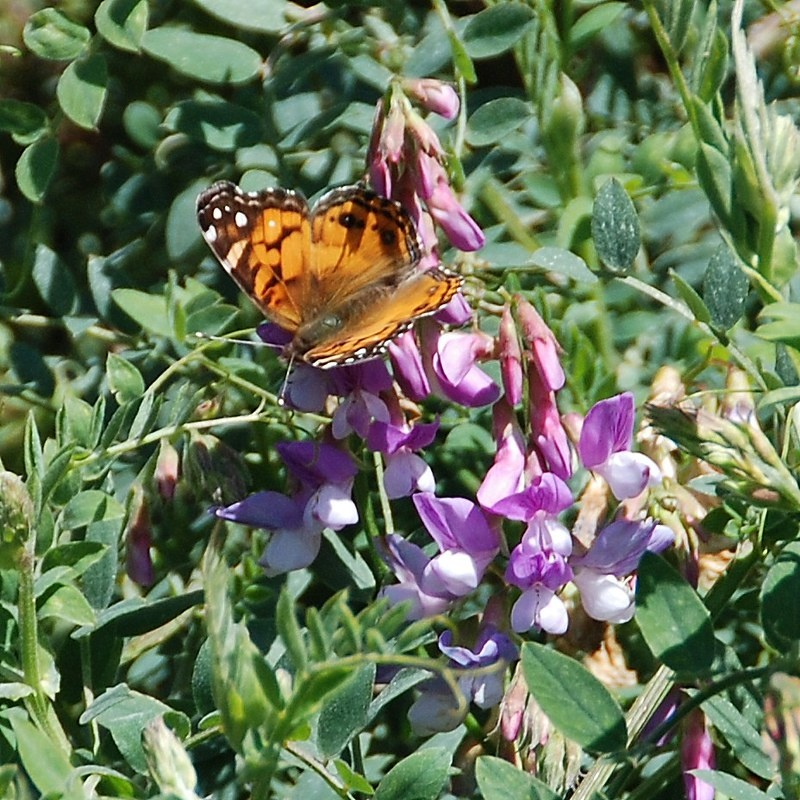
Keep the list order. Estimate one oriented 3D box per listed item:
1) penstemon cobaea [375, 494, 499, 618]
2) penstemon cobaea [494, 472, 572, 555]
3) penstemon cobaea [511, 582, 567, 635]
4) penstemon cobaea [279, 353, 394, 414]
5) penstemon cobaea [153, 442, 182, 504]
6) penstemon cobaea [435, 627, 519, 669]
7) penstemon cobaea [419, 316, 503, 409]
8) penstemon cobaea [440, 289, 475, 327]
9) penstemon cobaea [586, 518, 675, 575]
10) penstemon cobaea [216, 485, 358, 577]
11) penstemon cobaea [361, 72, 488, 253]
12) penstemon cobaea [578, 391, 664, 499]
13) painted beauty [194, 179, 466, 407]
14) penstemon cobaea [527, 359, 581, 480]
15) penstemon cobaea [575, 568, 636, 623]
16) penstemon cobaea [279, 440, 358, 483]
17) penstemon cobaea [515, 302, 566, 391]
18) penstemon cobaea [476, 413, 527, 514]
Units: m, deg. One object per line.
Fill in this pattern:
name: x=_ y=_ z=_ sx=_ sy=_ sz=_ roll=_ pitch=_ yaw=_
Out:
penstemon cobaea: x=0.053 y=0.187 z=1.346 sx=0.139 sy=0.080 sz=0.176 roll=12 pitch=30 yaw=13
penstemon cobaea: x=0.166 y=0.145 z=1.313 sx=0.090 sy=0.094 sz=0.032 roll=-26 pitch=-6 yaw=-4
penstemon cobaea: x=0.165 y=0.246 z=1.321 sx=0.062 sy=0.056 sz=0.050 roll=2 pitch=-8 yaw=-1
penstemon cobaea: x=-0.076 y=-0.021 z=1.393 sx=0.075 sy=0.042 sz=0.090 roll=-9 pitch=33 yaw=20
penstemon cobaea: x=-0.312 y=0.098 z=1.523 sx=0.032 sy=0.077 sz=0.068 roll=9 pitch=-8 yaw=1
penstemon cobaea: x=0.093 y=0.294 z=1.322 sx=0.072 sy=0.035 sz=0.069 roll=-24 pitch=22 yaw=-33
penstemon cobaea: x=0.071 y=-0.070 z=1.397 sx=0.094 sy=0.057 sz=0.165 roll=-12 pitch=-39 yaw=-17
penstemon cobaea: x=0.077 y=-0.119 z=1.406 sx=0.036 sy=0.045 sz=0.037 roll=-32 pitch=12 yaw=19
penstemon cobaea: x=0.275 y=0.170 z=1.334 sx=0.098 sy=0.059 sz=0.028 roll=-31 pitch=-8 yaw=41
penstemon cobaea: x=-0.138 y=0.135 z=1.419 sx=0.066 sy=0.118 sz=0.154 roll=26 pitch=-19 yaw=17
penstemon cobaea: x=0.036 y=-0.283 z=1.391 sx=0.068 sy=0.166 sz=0.198 roll=-27 pitch=-29 yaw=-18
penstemon cobaea: x=0.264 y=0.056 z=1.353 sx=0.077 sy=0.139 sz=0.078 roll=-25 pitch=35 yaw=-29
painted beauty: x=-0.101 y=-0.177 z=1.363 sx=0.301 sy=0.304 sz=0.168 roll=3 pitch=15 yaw=5
penstemon cobaea: x=0.183 y=0.035 z=1.362 sx=0.039 sy=0.169 sz=0.058 roll=-12 pitch=-22 yaw=10
penstemon cobaea: x=0.243 y=0.231 z=1.326 sx=0.048 sy=0.074 sz=0.049 roll=-24 pitch=-6 yaw=-4
penstemon cobaea: x=-0.100 y=0.081 z=1.391 sx=0.062 sy=0.027 sz=0.062 roll=9 pitch=-20 yaw=3
penstemon cobaea: x=0.172 y=-0.065 z=1.358 sx=0.041 sy=0.122 sz=0.044 roll=-18 pitch=-20 yaw=6
penstemon cobaea: x=0.143 y=0.085 z=1.396 sx=0.050 sy=0.061 sz=0.169 roll=-37 pitch=8 yaw=26
